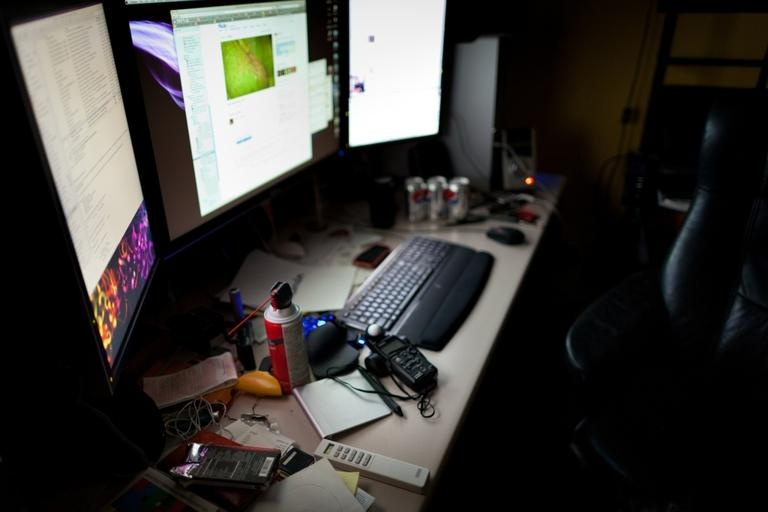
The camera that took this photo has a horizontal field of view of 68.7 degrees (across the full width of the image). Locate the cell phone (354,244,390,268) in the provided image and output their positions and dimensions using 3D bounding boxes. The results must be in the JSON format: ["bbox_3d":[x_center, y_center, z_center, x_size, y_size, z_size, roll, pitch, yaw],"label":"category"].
[{"bbox_3d":[-0.039,-0.014,1.718,0.064,0.021,0.091,9,39,38],"label":"cell phone"}]

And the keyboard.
[{"bbox_3d":[0.108,0.089,1.580,0.329,0.051,0.438,10,39,24],"label":"keyboard"}]

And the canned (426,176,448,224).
[{"bbox_3d":[0.186,-0.192,1.917,0.083,0.147,0.092,2,0,-2],"label":"canned"}]

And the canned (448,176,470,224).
[{"bbox_3d":[0.248,-0.192,1.916,0.099,0.139,0.076,-12,15,-37],"label":"canned"}]

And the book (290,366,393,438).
[{"bbox_3d":[-0.096,0.336,1.302,0.190,0.037,0.141,-14,35,-19],"label":"book"}]

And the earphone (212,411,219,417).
[{"bbox_3d":[-0.383,0.355,1.270,0.009,0.009,0.016,0,-2,-1],"label":"earphone"}]

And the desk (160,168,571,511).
[{"bbox_3d":[-0.073,0.209,1.514,0.531,0.482,0.982,16,50,14],"label":"desk"}]

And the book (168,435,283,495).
[{"bbox_3d":[-0.325,0.425,1.159,0.169,0.040,0.098,6,38,3],"label":"book"}]
